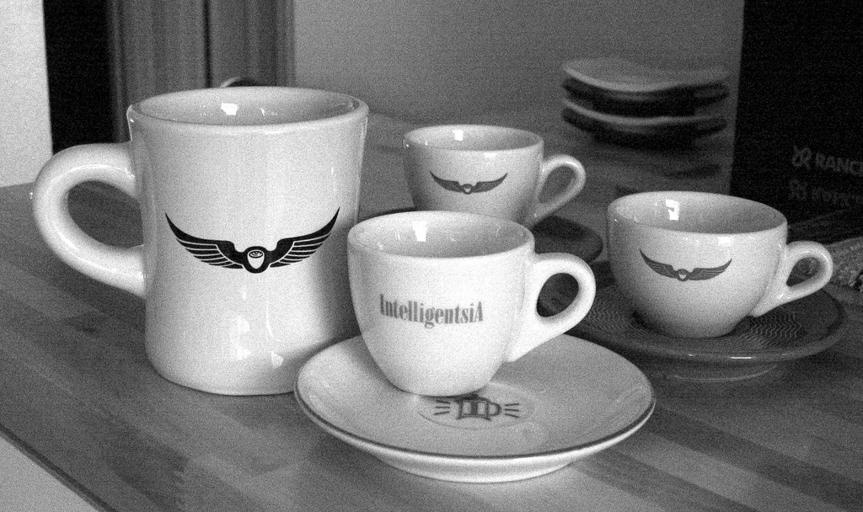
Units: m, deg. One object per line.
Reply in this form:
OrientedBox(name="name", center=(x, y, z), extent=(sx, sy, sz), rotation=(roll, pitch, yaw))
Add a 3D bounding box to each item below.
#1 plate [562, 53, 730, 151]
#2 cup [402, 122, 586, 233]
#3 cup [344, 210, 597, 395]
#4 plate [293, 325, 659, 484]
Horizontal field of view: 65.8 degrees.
OrientedBox(name="plate", center=(0.256, -0.206, 0.780), extent=(0.157, 0.062, 0.138), rotation=(19, 29, 37))
OrientedBox(name="cup", center=(0.050, -0.063, 0.570), extent=(0.147, 0.072, 0.100), rotation=(2, 13, 4))
OrientedBox(name="cup", center=(0.030, 0.003, 0.449), extent=(0.178, 0.088, 0.122), rotation=(2, 10, 6))
OrientedBox(name="plate", center=(0.026, 0.090, 0.419), extent=(0.211, 0.040, 0.130), rotation=(-7, 27, -13))
